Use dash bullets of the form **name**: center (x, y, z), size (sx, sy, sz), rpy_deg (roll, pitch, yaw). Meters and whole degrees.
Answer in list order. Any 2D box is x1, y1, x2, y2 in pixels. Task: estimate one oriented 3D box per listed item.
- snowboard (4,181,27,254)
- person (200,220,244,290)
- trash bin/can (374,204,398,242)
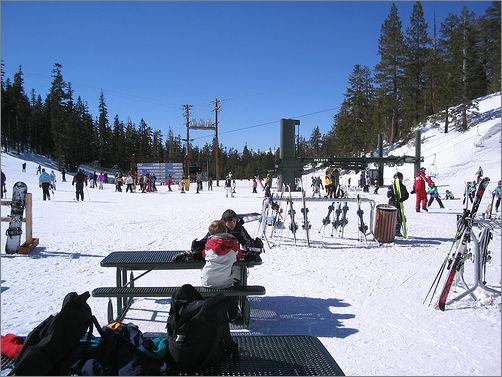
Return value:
- **snowboard**: center (-5.809, 0.750, 10.136), size (0.428, 2.023, 0.382), rpy_deg (3, -1, -31)
- **person**: center (-0.471, 1.305, 6.754), size (0.622, 1.535, 0.800), rpy_deg (3, 13, 7)
- **trash bin/can**: center (3.789, 0.987, 11.547), size (0.563, 0.955, 0.562), rpy_deg (7, 20, 23)
